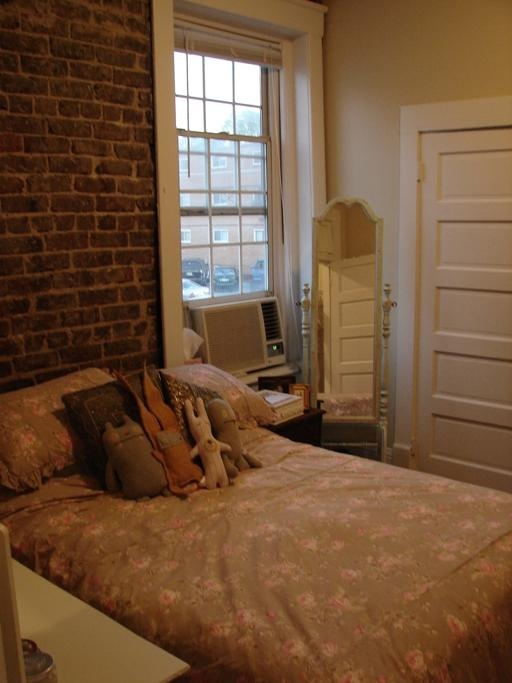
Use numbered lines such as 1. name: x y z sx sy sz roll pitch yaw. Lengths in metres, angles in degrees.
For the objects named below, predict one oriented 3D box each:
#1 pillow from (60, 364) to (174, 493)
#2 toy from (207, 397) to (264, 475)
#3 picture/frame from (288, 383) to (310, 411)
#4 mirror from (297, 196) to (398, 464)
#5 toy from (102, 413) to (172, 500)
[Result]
1. pillow: -0.535 0.311 1.902 0.139 0.341 0.305 -22 -9 39
2. toy: -0.099 0.394 2.121 0.209 0.291 0.192 -2 9 35
3. picture/frame: 0.235 0.316 2.857 0.117 0.179 0.018 1 -4 2
4. mirror: 0.584 0.009 3.238 0.561 1.727 0.114 8 29 23
5. toy: -0.433 0.434 1.816 0.187 0.283 0.089 -11 -18 -30
